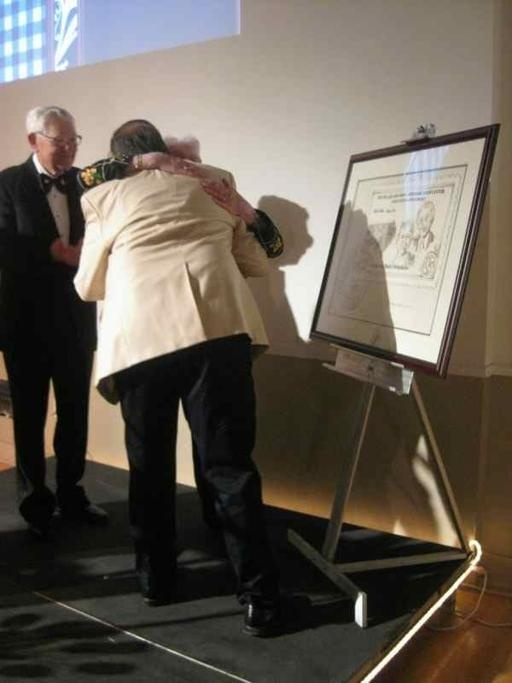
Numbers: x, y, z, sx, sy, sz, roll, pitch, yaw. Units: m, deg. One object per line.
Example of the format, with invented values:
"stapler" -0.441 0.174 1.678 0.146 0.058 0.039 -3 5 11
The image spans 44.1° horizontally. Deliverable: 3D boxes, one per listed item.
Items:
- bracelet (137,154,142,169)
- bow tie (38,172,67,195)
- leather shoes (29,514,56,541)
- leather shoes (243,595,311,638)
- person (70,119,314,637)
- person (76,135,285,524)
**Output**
"bracelet" -0.291 -0.451 1.589 0.007 0.029 0.030 14 -18 -32
"bow tie" -0.618 -0.478 1.920 0.074 0.058 0.018 -4 -4 -34
"leather shoes" -0.668 0.587 1.988 0.041 0.047 0.114 1 3 -29
"leather shoes" 0.060 0.658 1.554 0.075 0.083 0.187 -2 -1 34
"person" -0.165 0.103 1.599 0.493 1.136 0.583 -7 15 -15
"person" -0.187 -0.050 1.681 0.497 1.056 0.383 0 -21 -18
